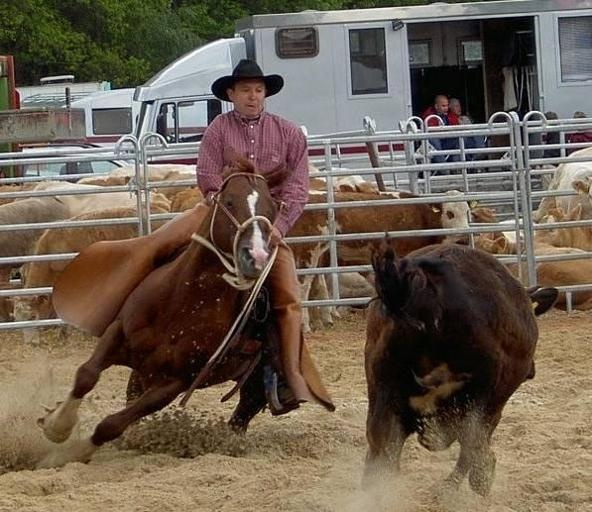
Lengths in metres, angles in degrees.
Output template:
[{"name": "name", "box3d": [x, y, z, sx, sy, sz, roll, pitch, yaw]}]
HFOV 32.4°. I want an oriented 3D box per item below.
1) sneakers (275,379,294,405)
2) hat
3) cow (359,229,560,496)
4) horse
[{"name": "sneakers", "box3d": [-0.089, 0.941, 7.112, 0.091, 0.143, 0.224, -5, 11, -15]}, {"name": "hat", "box3d": [-0.398, -1.333, 7.808, 0.363, 0.152, 0.403, -1, -15, -5]}, {"name": "cow", "box3d": [0.922, 0.689, 6.262, 1.048, 1.690, 0.525, -2, 11, -3]}, {"name": "horse", "box3d": [-0.804, 0.411, 7.117, 1.479, 2.134, 0.801, -2, 11, -1]}]
